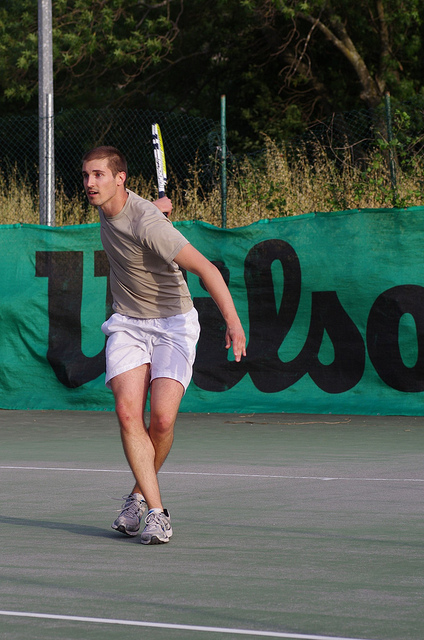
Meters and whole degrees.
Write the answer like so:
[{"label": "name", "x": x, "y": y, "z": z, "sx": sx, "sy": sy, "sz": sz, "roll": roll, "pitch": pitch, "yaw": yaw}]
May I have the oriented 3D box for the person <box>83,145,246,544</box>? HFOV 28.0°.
[{"label": "person", "x": -0.246, "y": 0.085, "z": 4.015, "sx": 0.498, "sy": 1.839, "sz": 0.769, "roll": -1, "pitch": 3, "yaw": -36}]
